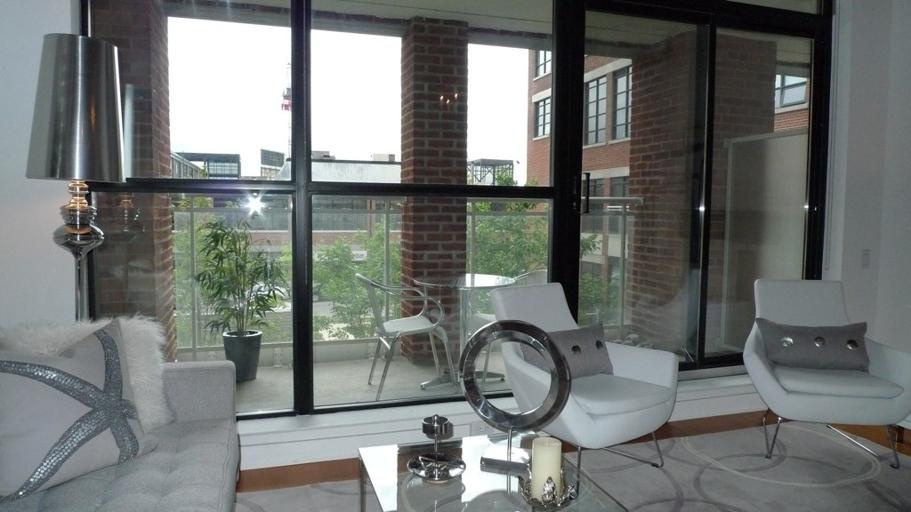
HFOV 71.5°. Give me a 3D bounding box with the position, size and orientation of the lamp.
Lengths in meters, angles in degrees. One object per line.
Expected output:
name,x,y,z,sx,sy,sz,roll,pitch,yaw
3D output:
lamp,-2.794,-0.553,4.774,0.634,2.123,0.464,-3,6,-6

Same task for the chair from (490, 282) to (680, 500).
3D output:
chair,1.025,0.976,5.527,1.574,1.541,1.565,-3,2,-35

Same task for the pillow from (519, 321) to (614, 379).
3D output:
pillow,0.847,0.757,4.924,0.576,0.338,0.181,-4,-36,-18

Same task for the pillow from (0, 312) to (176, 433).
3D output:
pillow,-2.393,0.783,4.418,0.928,0.844,0.271,0,-18,-46
